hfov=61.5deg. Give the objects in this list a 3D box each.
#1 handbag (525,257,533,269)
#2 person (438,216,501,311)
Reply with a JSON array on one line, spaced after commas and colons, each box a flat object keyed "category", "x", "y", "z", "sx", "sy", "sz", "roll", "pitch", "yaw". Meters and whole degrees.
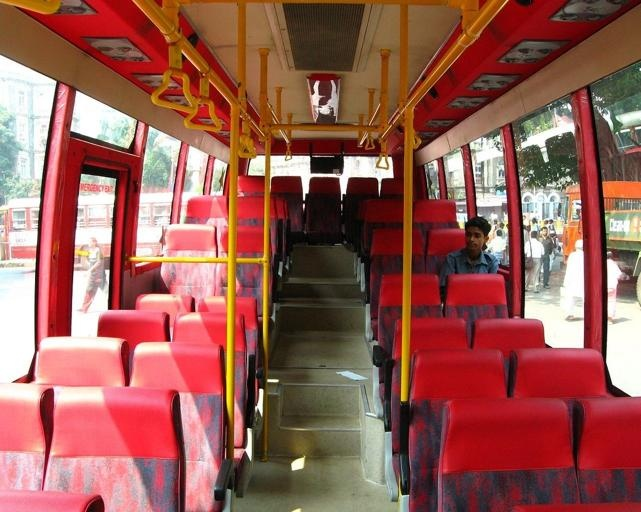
[{"category": "handbag", "x": 2.192, "y": 0.078, "z": 5.661, "sx": 0.047, "sy": 0.094, "sz": 0.087, "roll": 0, "pitch": -7, "yaw": 2}, {"category": "person", "x": 1.619, "y": 0.075, "z": 5.856, "sx": 0.575, "sy": 0.998, "sz": 0.568, "roll": 9, "pitch": -14, "yaw": 3}]
